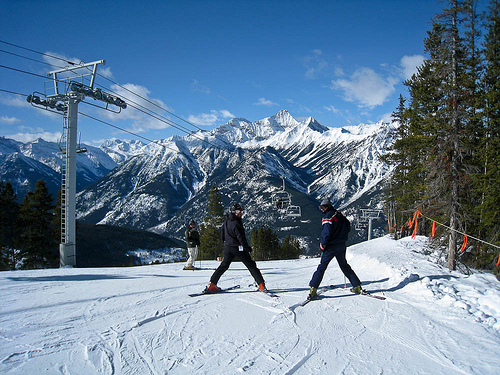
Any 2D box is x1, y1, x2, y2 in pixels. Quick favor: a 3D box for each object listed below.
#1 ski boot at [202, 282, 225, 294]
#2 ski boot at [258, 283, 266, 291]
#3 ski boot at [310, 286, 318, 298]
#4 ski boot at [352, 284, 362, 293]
[{"bbox_3d":[-1.391,3.669,14.913,0.602,0.301,0.282,0,-1,-39],"label":"ski boot"},{"bbox_3d":[0.416,3.628,14.885,0.208,0.227,0.392,-5,22,29],"label":"ski boot"},{"bbox_3d":[2.276,3.759,14.687,0.327,0.442,0.166,-3,10,-23],"label":"ski boot"},{"bbox_3d":[3.958,3.792,15.216,0.353,0.309,0.150,5,10,17],"label":"ski boot"}]
